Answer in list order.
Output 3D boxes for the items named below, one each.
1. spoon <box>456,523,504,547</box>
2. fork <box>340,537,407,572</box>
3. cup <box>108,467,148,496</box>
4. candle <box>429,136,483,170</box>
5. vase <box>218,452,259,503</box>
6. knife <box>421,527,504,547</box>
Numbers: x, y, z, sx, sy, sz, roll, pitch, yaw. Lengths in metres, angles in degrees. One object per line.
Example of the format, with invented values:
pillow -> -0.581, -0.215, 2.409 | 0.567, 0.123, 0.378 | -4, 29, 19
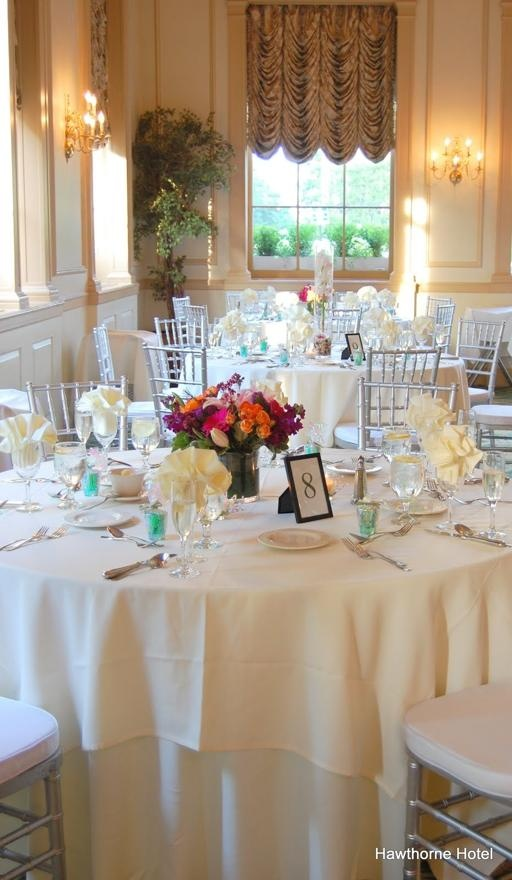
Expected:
spoon -> 0.489, 0.205, 1.411 | 0.031, 0.019, 0.122 | 4, 12, -22
fork -> 0.233, 0.229, 1.305 | 0.032, 0.028, 0.197 | -22, 19, -13
cup -> -0.338, 0.114, 1.703 | 0.078, 0.067, 0.081 | 1, 9, 0
candle -> 2.653, -3.787, 8.553 | 0.678, 0.398, 0.088 | 0, 10, -4
vase -> -0.034, 0.095, 1.738 | 0.113, 0.160, 0.112 | 0, 5, -1
knife -> 0.428, 0.215, 1.402 | 0.156, 0.018, 0.047 | 13, -12, -28
